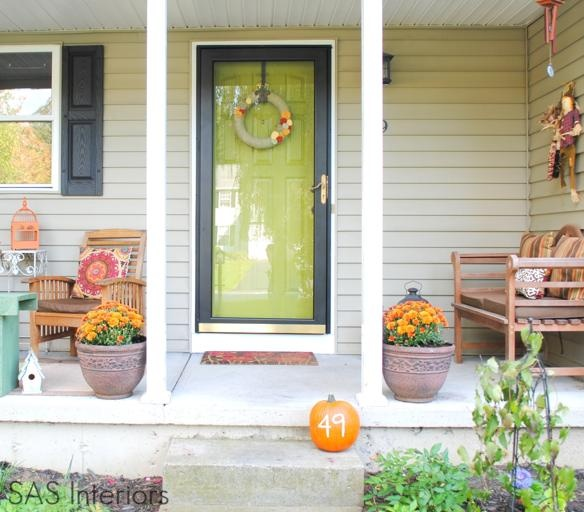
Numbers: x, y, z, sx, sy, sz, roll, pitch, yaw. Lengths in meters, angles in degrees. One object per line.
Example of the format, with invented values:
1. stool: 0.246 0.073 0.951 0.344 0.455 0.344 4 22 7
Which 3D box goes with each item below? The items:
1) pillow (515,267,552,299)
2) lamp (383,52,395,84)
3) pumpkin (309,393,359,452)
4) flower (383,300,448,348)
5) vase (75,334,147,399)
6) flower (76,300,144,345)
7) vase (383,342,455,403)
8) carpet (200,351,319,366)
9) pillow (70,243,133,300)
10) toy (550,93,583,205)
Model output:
1. pillow: 1.629 0.177 4.084 0.241 0.243 0.074 -7 -30 38
2. lamp: 0.767 -1.504 4.801 0.075 0.266 0.179 0 1 12
3. pumpkin: 0.226 0.918 3.315 0.280 0.297 0.167 0 1 5
4. flower: 0.726 0.398 3.572 0.298 0.195 0.293 -7 10 -35
5. vase: -1.092 0.620 3.612 0.341 0.354 0.333 4 8 -4
6. flower: -1.069 0.417 3.616 0.290 0.182 0.293 2 2 6
7. vase: 0.730 0.673 3.510 0.398 0.308 0.131 1 1 9
8. carpet: -0.251 0.788 4.647 0.880 0.033 0.445 0 1 -1
9. pillow: -1.498 0.103 4.649 0.447 0.400 0.138 5 -15 11
10. toy: 1.948 -0.774 4.259 0.128 0.797 0.318 0 1 4
